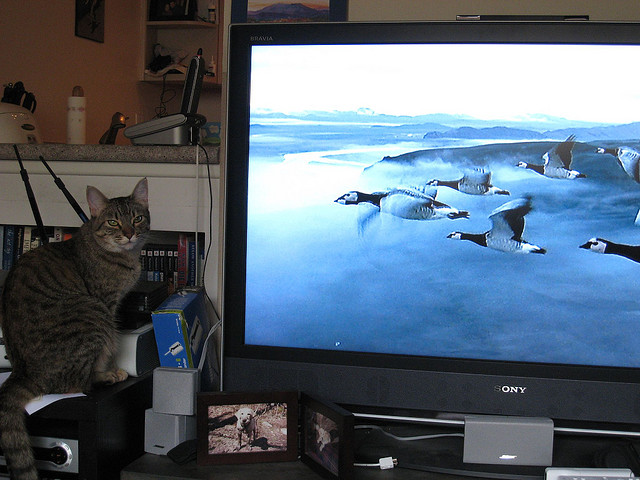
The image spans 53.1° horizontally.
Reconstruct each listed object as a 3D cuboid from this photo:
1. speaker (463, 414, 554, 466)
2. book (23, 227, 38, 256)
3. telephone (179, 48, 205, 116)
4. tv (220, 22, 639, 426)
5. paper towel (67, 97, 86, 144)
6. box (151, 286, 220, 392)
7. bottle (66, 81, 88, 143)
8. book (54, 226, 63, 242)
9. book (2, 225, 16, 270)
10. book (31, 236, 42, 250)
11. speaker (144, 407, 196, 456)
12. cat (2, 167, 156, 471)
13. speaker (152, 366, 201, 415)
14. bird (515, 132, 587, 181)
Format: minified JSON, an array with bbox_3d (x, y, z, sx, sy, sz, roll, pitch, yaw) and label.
[{"bbox_3d":[0.467,0.491,1.629,0.241,0.112,0.117,1,0,5],"label":"speaker"},{"bbox_3d":[-0.937,0.003,2.067,0.050,0.083,0.089,1,1,-14],"label":"book"},{"bbox_3d":[-0.412,-0.510,2.085,0.051,0.218,0.049,30,24,35],"label":"telephone"},{"bbox_3d":[0.319,-0.048,1.597,1.118,0.811,0.109,1,1,6],"label":"tv"},{"bbox_3d":[-0.935,-0.458,2.453,0.069,0.174,0.076,-3,10,-20],"label":"paper towel"},{"bbox_3d":[-0.384,0.286,1.791,0.103,0.239,0.282,-6,11,15],"label":"box"},{"bbox_3d":[-1.000,-0.516,2.618,0.074,0.231,0.440,-3,10,-21],"label":"bottle"},{"bbox_3d":[-0.867,-0.020,2.113,0.027,0.040,0.025,-1,10,-10],"label":"book"},{"bbox_3d":[-1.039,0.024,2.130,0.047,0.144,0.027,-1,10,-8],"label":"book"},{"bbox_3d":[-0.917,0.011,2.062,0.046,0.041,0.044,1,1,-23],"label":"book"},{"bbox_3d":[-0.386,0.505,1.712,0.166,0.115,0.161,-3,-11,-2],"label":"speaker"},{"bbox_3d":[-0.674,0.191,1.779,0.395,0.699,0.468,-1,10,-13],"label":"cat"},{"bbox_3d":[-0.371,0.393,1.647,0.135,0.118,0.066,1,1,6],"label":"speaker"},{"bbox_3d":[0.570,-0.185,1.569,0.122,0.048,0.131,-13,-4,7],"label":"bird"}]
